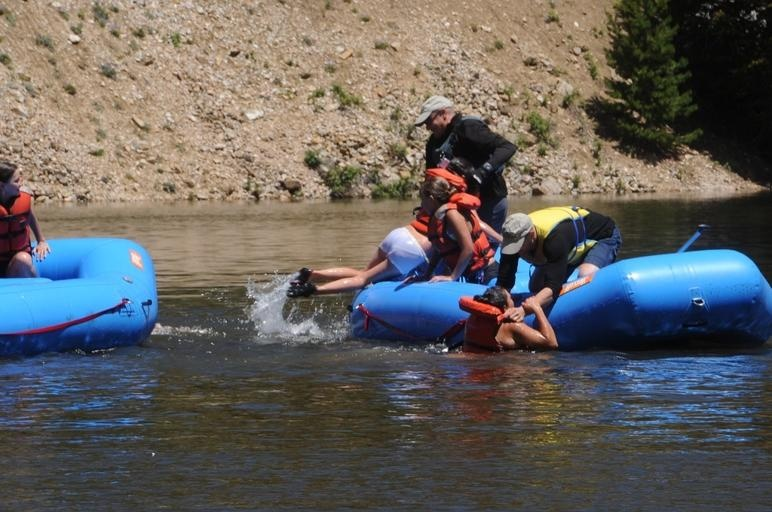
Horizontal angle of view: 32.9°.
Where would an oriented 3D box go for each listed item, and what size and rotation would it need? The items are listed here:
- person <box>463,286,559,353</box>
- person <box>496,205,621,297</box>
[{"bbox_3d":[1.686,0.880,18.125,1.300,0.888,0.290,-1,5,1],"label":"person"},{"bbox_3d":[2.470,-0.121,18.527,2.030,1.102,1.220,-18,18,-35],"label":"person"}]
